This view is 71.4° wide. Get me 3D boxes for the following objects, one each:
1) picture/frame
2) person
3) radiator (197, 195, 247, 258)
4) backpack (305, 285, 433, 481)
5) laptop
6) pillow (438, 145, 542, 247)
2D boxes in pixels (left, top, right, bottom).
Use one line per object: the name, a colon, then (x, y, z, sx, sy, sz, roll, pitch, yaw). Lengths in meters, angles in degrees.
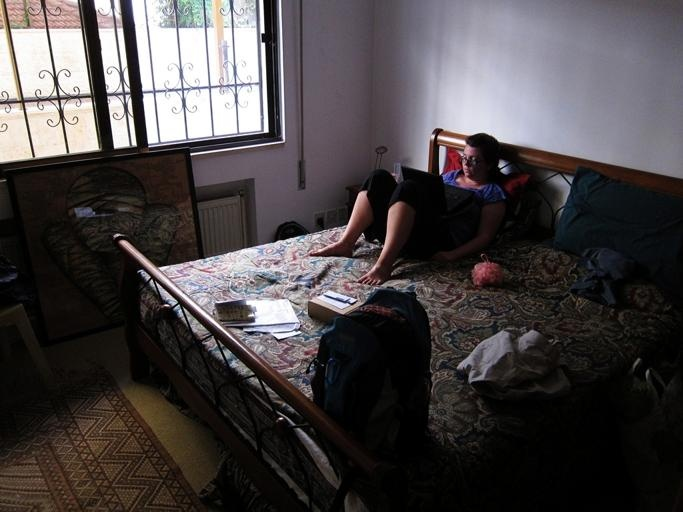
picture/frame: (-1.481, -0.053, 2.840, 1.051, 1.070, 0.072, -19, 16, -32)
person: (0.491, -0.356, 3.018, 1.155, 0.808, 0.719, -6, 21, -24)
radiator: (-0.914, -0.235, 3.576, 0.379, 0.461, 0.051, -21, 33, -39)
backpack: (0.130, 0.400, 1.587, 0.401, 0.481, 0.299, -17, 26, -32)
laptop: (0.577, -0.413, 2.925, 0.357, 0.263, 0.332, -28, 46, -24)
pillow: (1.157, -0.367, 3.340, 0.549, 0.606, 0.213, 15, -9, 3)
